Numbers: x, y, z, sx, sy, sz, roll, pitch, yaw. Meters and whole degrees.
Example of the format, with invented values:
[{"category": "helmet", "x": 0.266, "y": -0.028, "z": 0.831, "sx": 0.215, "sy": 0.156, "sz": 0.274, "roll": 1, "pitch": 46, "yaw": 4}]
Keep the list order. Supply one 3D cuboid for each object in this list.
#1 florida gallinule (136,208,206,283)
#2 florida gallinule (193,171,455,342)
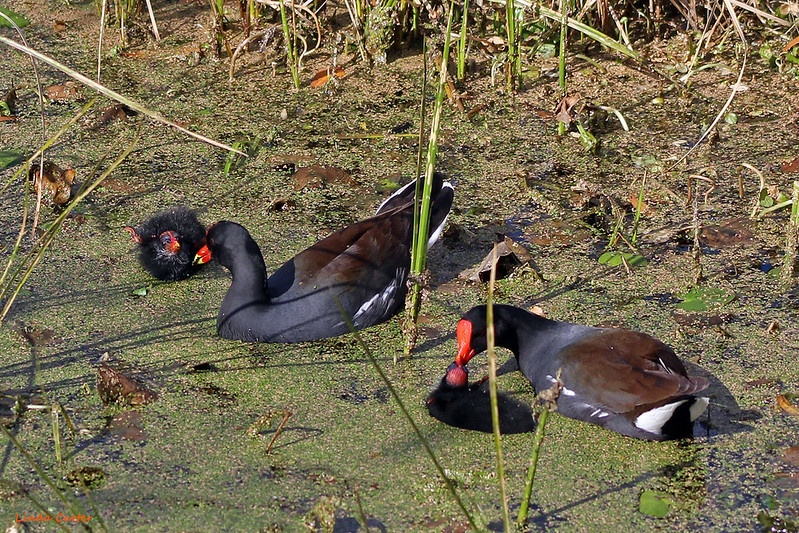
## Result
[{"category": "florida gallinule", "x": -1.538, "y": -0.100, "z": 5.626, "sx": 0.566, "sy": 0.315, "sz": 0.433, "roll": -11, "pitch": 69, "yaw": -7}, {"category": "florida gallinule", "x": -0.521, "y": 0.027, "z": 5.219, "sx": 1.451, "sy": 0.652, "sz": 0.826, "roll": -15, "pitch": 28, "yaw": -12}]
